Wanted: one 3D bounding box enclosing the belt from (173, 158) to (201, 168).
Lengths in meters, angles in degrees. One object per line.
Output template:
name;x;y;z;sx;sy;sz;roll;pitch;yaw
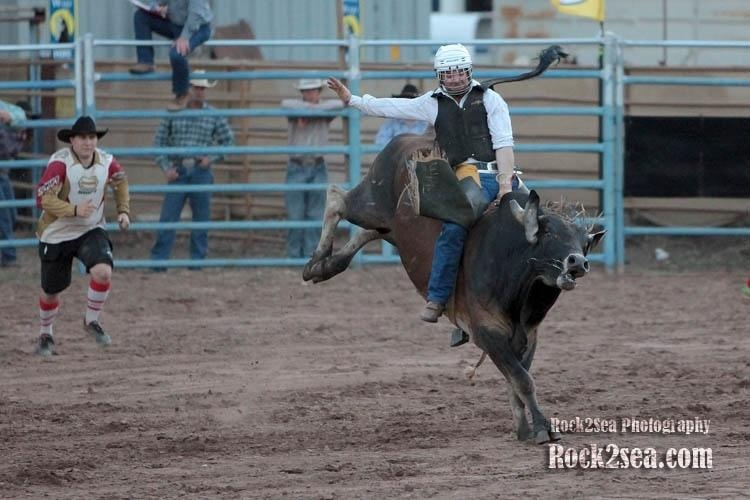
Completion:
belt;-2.468;-1.171;22.519;0.385;0.154;0.103;-1;8;0

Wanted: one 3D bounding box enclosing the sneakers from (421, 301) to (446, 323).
sneakers;0.627;0.638;18.466;0.272;0.248;0.332;-1;8;2

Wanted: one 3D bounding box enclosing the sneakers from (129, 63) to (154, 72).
sneakers;-3.055;-2.420;22.368;0.326;0.117;0.123;3;7;0

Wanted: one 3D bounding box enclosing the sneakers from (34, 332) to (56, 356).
sneakers;-3.848;1.073;19.980;0.217;0.261;0.278;2;-2;-12

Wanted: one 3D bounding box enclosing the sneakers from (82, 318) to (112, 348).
sneakers;-3.216;0.954;19.724;0.418;0.181;0.165;39;53;15

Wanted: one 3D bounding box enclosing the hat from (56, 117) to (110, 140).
hat;-3.528;-1.501;20.684;0.469;0.196;0.523;-1;-3;-15

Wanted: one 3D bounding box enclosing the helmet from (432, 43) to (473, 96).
helmet;0.846;-2.025;18.831;0.426;0.490;0.533;-5;11;0

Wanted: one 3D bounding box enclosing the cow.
cow;0.920;-0.160;18.617;3.372;4.149;0.998;6;11;43
